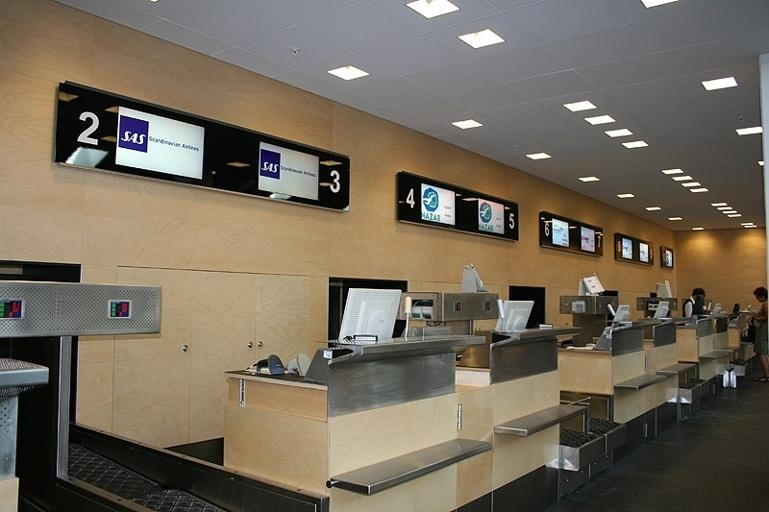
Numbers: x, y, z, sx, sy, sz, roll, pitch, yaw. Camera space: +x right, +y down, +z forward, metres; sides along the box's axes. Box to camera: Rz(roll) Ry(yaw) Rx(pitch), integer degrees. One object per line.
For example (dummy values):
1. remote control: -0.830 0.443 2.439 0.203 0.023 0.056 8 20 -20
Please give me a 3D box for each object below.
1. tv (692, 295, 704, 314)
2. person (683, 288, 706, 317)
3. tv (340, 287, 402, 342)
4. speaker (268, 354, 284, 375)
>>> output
1. tv: 6.599 1.027 10.832 0.369 0.390 0.189 10 -5 -41
2. person: 7.232 1.074 11.992 0.479 0.807 0.893 -3 -7 44
3. tv: -0.087 0.446 3.962 0.526 0.390 0.164 5 -4 -44
4. speaker: -0.867 0.862 4.093 0.115 0.146 0.050 -10 -12 -8
